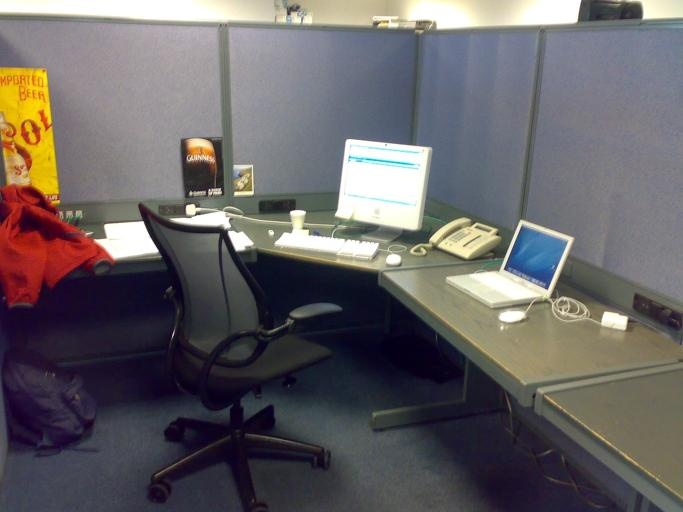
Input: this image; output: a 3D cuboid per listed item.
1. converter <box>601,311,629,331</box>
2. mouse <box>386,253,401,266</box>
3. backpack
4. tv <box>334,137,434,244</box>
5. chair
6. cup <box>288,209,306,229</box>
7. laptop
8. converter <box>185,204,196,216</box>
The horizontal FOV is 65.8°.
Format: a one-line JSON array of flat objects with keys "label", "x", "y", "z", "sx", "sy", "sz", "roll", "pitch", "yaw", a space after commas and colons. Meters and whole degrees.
[{"label": "converter", "x": 1.020, "y": 0.235, "z": 1.959, "sx": 0.091, "sy": 0.035, "sz": 0.121, "roll": 18, "pitch": 33, "yaw": 30}, {"label": "mouse", "x": 0.243, "y": 0.013, "z": 2.442, "sx": 0.075, "sy": 0.043, "sz": 0.115, "roll": 2, "pitch": 28, "yaw": 5}, {"label": "backpack", "x": -1.360, "y": 0.670, "z": 2.432, "sx": 0.457, "sy": 0.166, "sz": 0.338, "roll": 46, "pitch": 39, "yaw": 12}, {"label": "tv", "x": 0.221, "y": -0.327, "z": 2.754, "sx": 0.477, "sy": 0.493, "sz": 0.248, "roll": 14, "pitch": 29, "yaw": 29}, {"label": "chair", "x": -0.476, "y": 0.218, "z": 2.816, "sx": 1.066, "sy": 1.590, "sz": 1.173, "roll": -9, "pitch": 23, "yaw": -30}, {"label": "cup", "x": -0.233, "y": -0.190, "z": 2.791, "sx": 0.094, "sy": 0.106, "sz": 0.098, "roll": 2, "pitch": 27, "yaw": -1}, {"label": "laptop", "x": 0.688, "y": 0.026, "z": 2.164, "sx": 0.411, "sy": 0.254, "sz": 0.394, "roll": -4, "pitch": 14, "yaw": -8}, {"label": "converter", "x": -0.818, "y": -0.248, "z": 2.869, "sx": 0.056, "sy": 0.058, "sz": 0.058, "roll": -2, "pitch": 2, "yaw": -5}]
